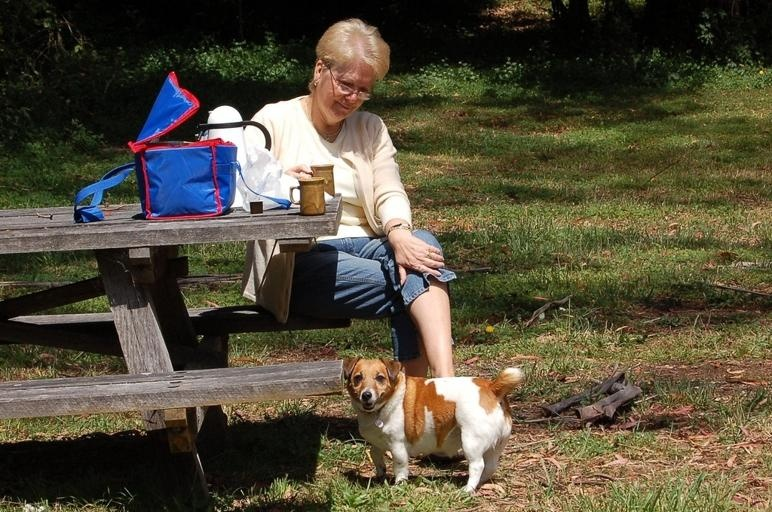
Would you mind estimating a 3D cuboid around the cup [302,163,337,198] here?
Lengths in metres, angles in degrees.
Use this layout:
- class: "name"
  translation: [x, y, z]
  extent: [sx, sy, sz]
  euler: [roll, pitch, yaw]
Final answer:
- class: "cup"
  translation: [-0.654, -0.737, 11.197]
  extent: [0.294, 0.377, 0.321]
  euler: [-1, 8, 0]

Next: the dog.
- class: "dog"
  translation: [0.594, 1.740, 11.247]
  extent: [1.766, 1.206, 1.228]
  euler: [-5, -16, 32]
